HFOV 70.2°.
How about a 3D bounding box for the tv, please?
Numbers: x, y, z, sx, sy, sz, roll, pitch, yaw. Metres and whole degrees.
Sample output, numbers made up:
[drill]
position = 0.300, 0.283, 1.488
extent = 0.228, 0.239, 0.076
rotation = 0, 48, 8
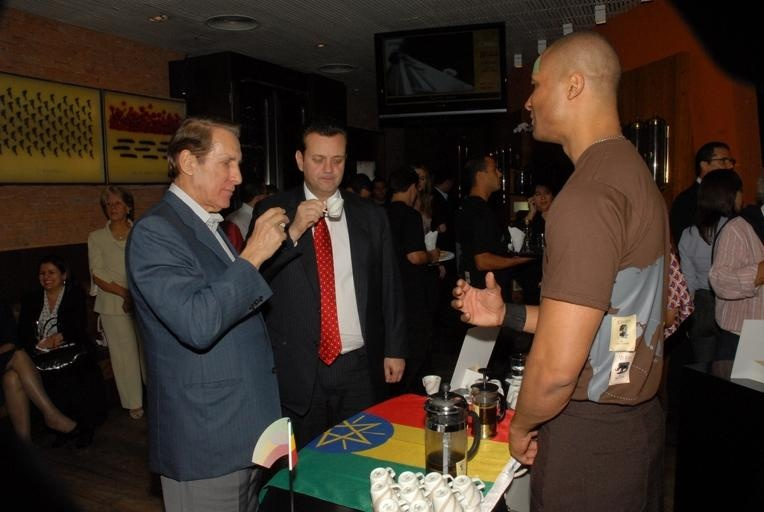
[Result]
[tv]
position = 0.565, -1.809, 5.265
extent = 0.965, 0.623, 0.101
rotation = -1, 16, 11
